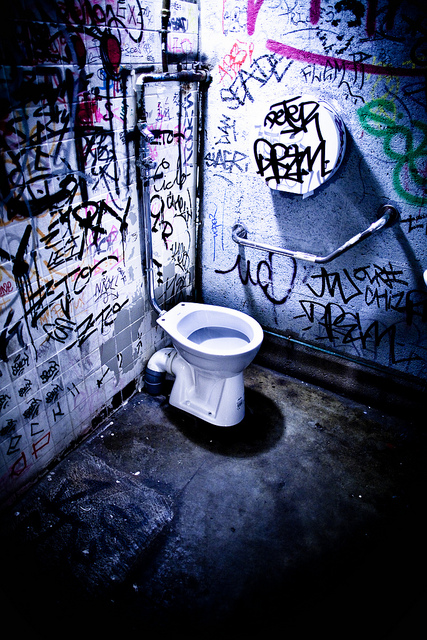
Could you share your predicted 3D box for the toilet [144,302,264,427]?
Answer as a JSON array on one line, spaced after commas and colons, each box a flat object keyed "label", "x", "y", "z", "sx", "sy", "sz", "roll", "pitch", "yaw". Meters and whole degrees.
[{"label": "toilet", "x": -0.074, "y": 0.262, "z": 2.459, "sx": 0.660, "sy": 0.554, "sz": 0.409, "roll": 19, "pitch": 32, "yaw": 25}]

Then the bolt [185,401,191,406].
[{"label": "bolt", "x": -0.141, "y": 0.454, "z": 2.452, "sx": 0.022, "sy": 0.023, "sz": 0.005, "roll": -2, "pitch": -1, "yaw": 20}]

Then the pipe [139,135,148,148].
[{"label": "pipe", "x": -0.303, "y": -0.743, "z": 1.896, "sx": 0.022, "sy": 0.044, "sz": 0.062, "roll": -12, "pitch": 28, "yaw": -35}]
